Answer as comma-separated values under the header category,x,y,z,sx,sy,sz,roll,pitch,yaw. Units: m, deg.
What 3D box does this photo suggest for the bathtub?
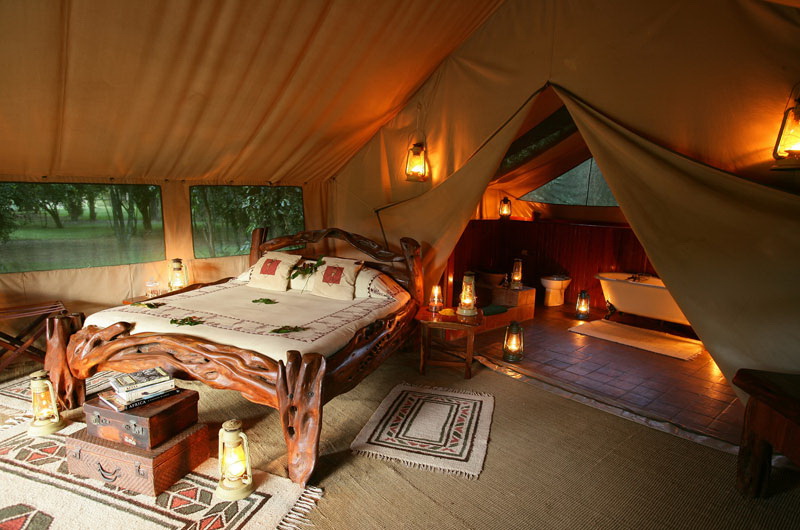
category,x,y,z,sx,sy,sz,roll,pitch,yaw
bathtub,3.711,0.526,6.503,0.853,0.442,1.402,7,0,35

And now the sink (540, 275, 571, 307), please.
category,x,y,z,sx,sy,sz,roll,pitch,yaw
sink,2.747,0.411,7.656,0.635,0.563,0.533,-4,9,-34

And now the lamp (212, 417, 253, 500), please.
category,x,y,z,sx,sy,sz,roll,pitch,yaw
lamp,-1.253,1.441,3.168,0.261,0.598,0.213,-4,5,-21

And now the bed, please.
category,x,y,z,sx,sy,sz,roll,pitch,yaw
bed,-1.004,0.539,4.533,2.660,1.346,2.702,10,16,26

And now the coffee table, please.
category,x,y,z,sx,sy,sz,roll,pitch,yaw
coffee table,0.598,0.855,5.169,0.800,0.549,0.764,5,12,16

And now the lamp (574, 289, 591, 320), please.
category,x,y,z,sx,sy,sz,roll,pitch,yaw
lamp,2.974,0.650,6.881,0.196,0.456,0.343,0,4,19

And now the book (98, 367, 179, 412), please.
category,x,y,z,sx,sy,sz,roll,pitch,yaw
book,-2.069,0.989,3.387,0.279,0.119,0.385,20,22,39

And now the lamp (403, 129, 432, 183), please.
category,x,y,z,sx,sy,sz,roll,pitch,yaw
lamp,0.187,-1.368,5.377,0.382,0.638,0.175,1,6,35

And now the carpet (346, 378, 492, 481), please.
category,x,y,z,sx,sy,sz,roll,pitch,yaw
carpet,0.279,1.498,3.977,1.131,0.345,1.156,-1,3,17

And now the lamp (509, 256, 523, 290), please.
category,x,y,z,sx,sy,sz,roll,pitch,yaw
lamp,1.874,0.147,6.790,0.171,0.439,0.454,-1,4,14

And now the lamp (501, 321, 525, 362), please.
category,x,y,z,sx,sy,sz,roll,pitch,yaw
lamp,1.383,0.930,5.182,0.245,0.478,0.262,-1,4,12

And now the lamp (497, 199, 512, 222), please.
category,x,y,z,sx,sy,sz,roll,pitch,yaw
lamp,1.976,-1.059,7.942,0.220,0.394,0.154,-2,5,-1
